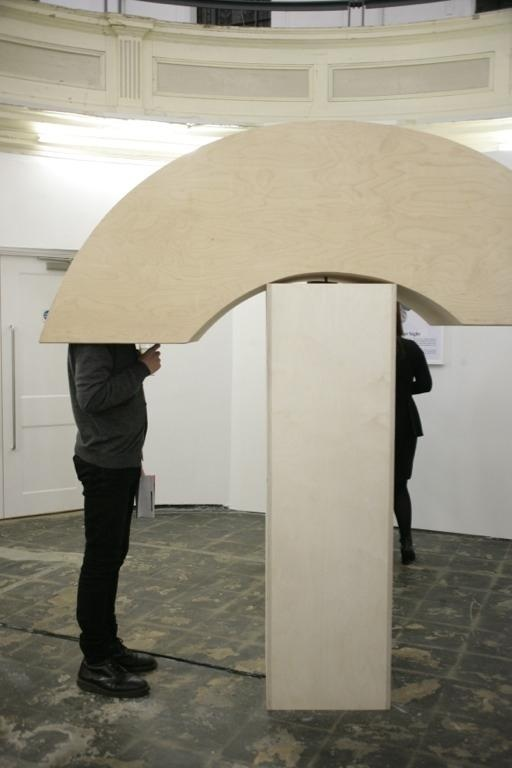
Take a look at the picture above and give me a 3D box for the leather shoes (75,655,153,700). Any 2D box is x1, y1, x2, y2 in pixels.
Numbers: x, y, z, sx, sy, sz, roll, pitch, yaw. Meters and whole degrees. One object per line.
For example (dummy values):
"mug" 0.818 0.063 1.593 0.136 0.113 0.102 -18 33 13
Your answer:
"leather shoes" -0.492 1.031 2.357 0.257 0.118 0.109 4 -8 0

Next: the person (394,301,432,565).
"person" 0.884 0.334 3.794 0.186 1.446 0.681 1 2 14

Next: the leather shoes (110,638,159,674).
"leather shoes" -0.452 1.009 2.503 0.209 0.128 0.090 -1 4 -13

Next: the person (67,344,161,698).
"person" -0.481 0.477 2.303 0.372 1.220 0.368 -1 2 -34
